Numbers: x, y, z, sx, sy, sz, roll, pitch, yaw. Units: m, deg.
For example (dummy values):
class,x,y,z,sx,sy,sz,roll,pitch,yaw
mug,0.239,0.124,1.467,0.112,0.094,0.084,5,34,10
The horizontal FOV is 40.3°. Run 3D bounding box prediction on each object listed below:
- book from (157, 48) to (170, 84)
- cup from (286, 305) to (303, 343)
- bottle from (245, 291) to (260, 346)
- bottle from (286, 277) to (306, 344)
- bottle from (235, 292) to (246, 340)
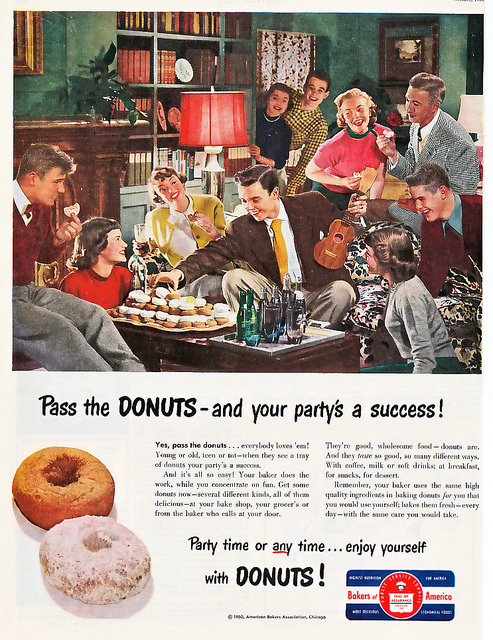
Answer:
class,x,y,z,sx,sy,sz,roll,pitch,yaw
book,-0.356,-1.096,2.865,0.047,0.105,0.100,1,27,-3
cup,0.210,0.014,2.949,0.073,0.155,0.099,2,6,1
bottle,0.021,-0.010,2.948,0.063,0.227,0.105,0,6,-12
bottle,0.203,-0.061,2.950,0.086,0.368,0.105,-1,42,6
bottle,-0.027,-0.021,2.968,0.045,0.201,0.075,1,6,-1
